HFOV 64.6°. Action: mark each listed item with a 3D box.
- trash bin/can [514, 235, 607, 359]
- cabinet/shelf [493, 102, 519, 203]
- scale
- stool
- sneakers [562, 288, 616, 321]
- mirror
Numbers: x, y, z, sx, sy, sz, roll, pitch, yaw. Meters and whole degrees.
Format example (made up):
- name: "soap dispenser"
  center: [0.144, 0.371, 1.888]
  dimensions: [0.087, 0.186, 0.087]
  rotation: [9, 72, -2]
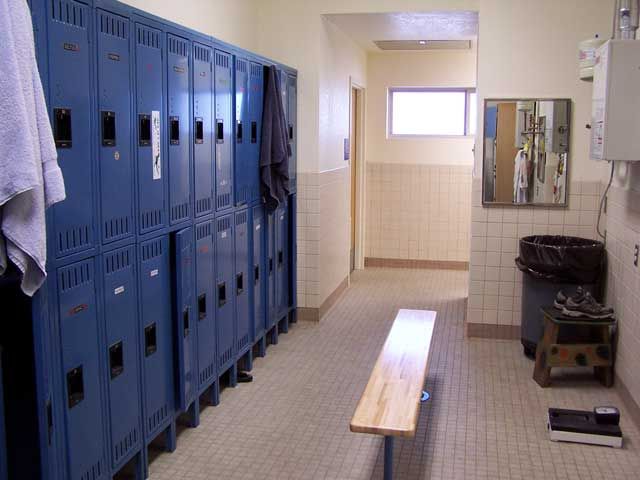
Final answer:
- name: "trash bin/can"
  center: [2.311, 0.384, 5.128]
  dimensions: [0.922, 1.398, 0.997]
  rotation: [3, 8, 26]
- name: "cabinet/shelf"
  center: [1.906, -0.890, 5.212]
  dimensions: [0.208, 0.993, 0.200]
  rotation: [-2, 13, 7]
- name: "scale"
  center: [1.836, 1.275, 3.492]
  dimensions: [0.305, 0.150, 0.316]
  rotation: [-1, 3, 17]
- name: "stool"
  center: [2.214, 0.921, 4.448]
  dimensions: [0.544, 0.569, 0.575]
  rotation: [-2, 5, 4]
- name: "sneakers"
  center: [2.323, 0.535, 4.307]
  dimensions: [0.550, 0.323, 0.201]
  rotation: [2, 5, 0]
- name: "mirror"
  center: [2.104, -0.907, 5.074]
  dimensions: [0.924, 1.398, 0.051]
  rotation: [1, 7, 6]
